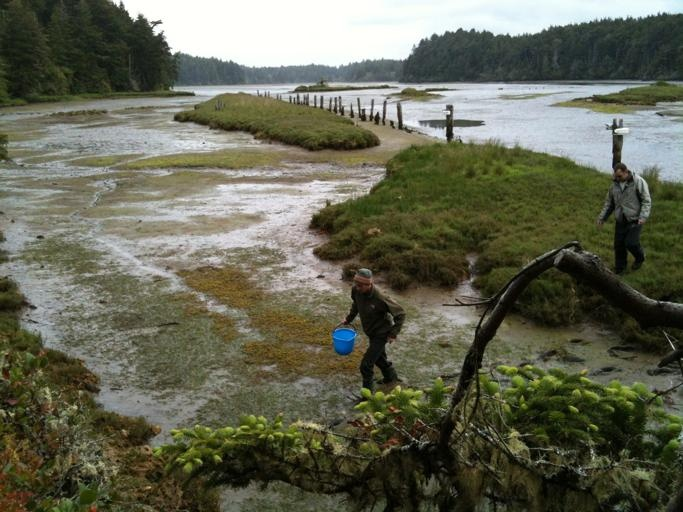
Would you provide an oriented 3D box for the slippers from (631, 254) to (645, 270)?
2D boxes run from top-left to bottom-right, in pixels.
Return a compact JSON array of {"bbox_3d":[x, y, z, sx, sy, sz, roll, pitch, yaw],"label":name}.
[{"bbox_3d":[6.207,0.130,13.195,0.189,0.350,0.201,23,6,-17],"label":"slippers"}]

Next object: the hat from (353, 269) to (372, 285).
[{"bbox_3d":[0.381,0.314,9.851,0.294,0.208,0.213,-15,27,-25],"label":"hat"}]

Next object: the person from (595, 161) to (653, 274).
[{"bbox_3d":[5.989,-0.778,13.025,0.687,2.218,0.850,1,23,9],"label":"person"}]

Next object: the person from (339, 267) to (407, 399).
[{"bbox_3d":[0.511,1.169,10.105,0.940,2.029,1.019,-5,22,-6],"label":"person"}]

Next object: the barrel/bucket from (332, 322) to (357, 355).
[{"bbox_3d":[0.038,1.408,10.698,0.550,0.491,0.574,1,7,0],"label":"barrel/bucket"}]
